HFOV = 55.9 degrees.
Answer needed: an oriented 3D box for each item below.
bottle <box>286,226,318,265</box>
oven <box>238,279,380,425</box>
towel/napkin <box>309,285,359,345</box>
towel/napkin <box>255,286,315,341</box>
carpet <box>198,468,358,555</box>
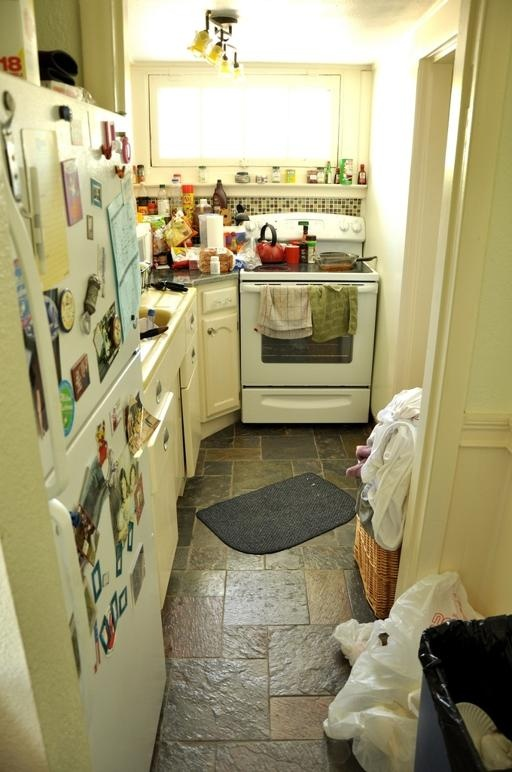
[{"bbox_3d":[0.346,-1.044,3.592,0.216,0.392,0.299,3,17,12],"label":"bottle"},{"bbox_3d":[0.347,-0.189,3.673,0.814,1.300,0.833,0,15,-1],"label":"oven"},{"bbox_3d":[0.498,-0.481,3.139,0.261,0.379,0.076,-5,27,-7],"label":"towel/napkin"},{"bbox_3d":[0.185,-0.483,3.107,0.244,0.294,0.052,-1,15,-3],"label":"towel/napkin"},{"bbox_3d":[0.129,0.662,2.499,0.838,0.034,0.493,-14,28,-26],"label":"carpet"}]
